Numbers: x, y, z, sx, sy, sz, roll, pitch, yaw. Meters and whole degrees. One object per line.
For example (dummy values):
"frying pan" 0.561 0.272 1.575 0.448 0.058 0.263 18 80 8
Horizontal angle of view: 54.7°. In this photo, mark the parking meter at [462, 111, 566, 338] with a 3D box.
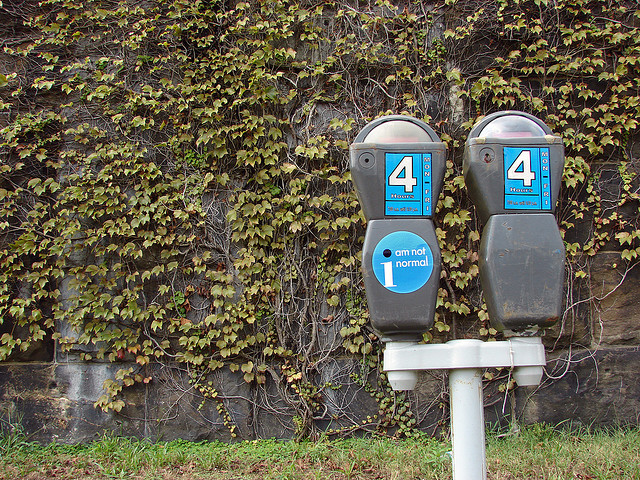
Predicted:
"parking meter" 1.324 -0.106 4.186 0.655 1.492 0.450 -2 11 8

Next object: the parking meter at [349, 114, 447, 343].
"parking meter" 0.532 -0.076 4.179 0.626 1.497 0.471 -1 11 10
